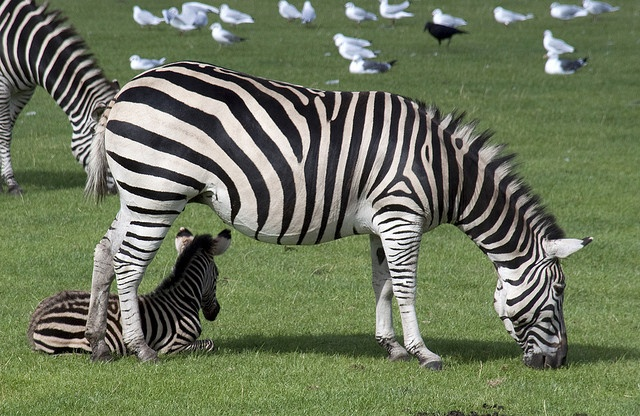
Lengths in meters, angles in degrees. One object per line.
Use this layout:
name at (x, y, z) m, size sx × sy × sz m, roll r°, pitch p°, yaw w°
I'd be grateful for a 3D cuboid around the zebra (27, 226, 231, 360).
zebra at (-3.925, 2.108, 29.817) m, size 4.701 × 2.925 × 1.567 m, roll -6°, pitch 5°, yaw -27°
